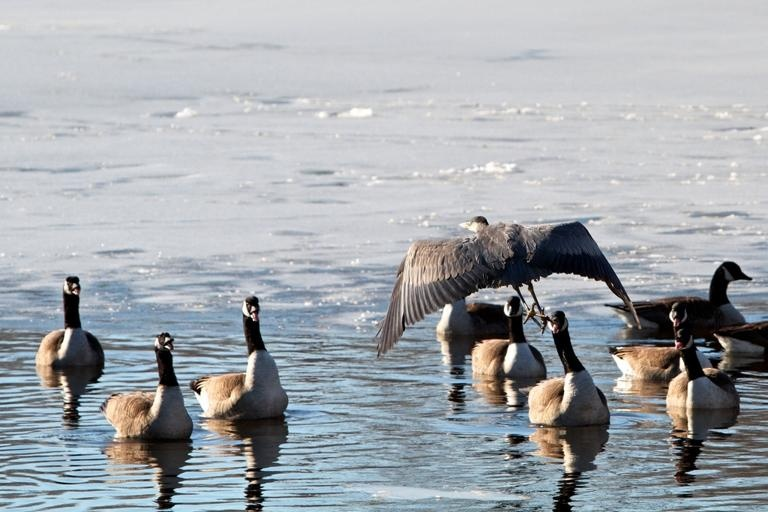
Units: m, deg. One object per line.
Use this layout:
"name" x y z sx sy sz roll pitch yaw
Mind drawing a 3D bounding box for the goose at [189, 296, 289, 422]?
"goose" -3.215 2.228 35.522 2.153 2.530 1.806 -1 0 -9

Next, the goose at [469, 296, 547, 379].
"goose" 2.964 2.012 39.790 1.258 2.137 3.046 -8 17 -11

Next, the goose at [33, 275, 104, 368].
"goose" -7.633 1.590 39.668 1.482 2.288 1.635 -1 -1 -8

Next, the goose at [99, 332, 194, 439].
"goose" -5.012 2.668 34.123 1.752 2.178 1.412 1 -3 -32
